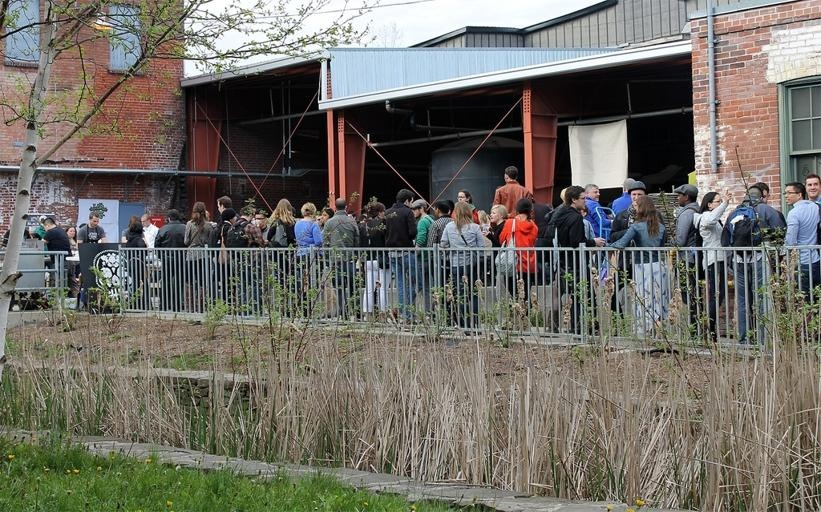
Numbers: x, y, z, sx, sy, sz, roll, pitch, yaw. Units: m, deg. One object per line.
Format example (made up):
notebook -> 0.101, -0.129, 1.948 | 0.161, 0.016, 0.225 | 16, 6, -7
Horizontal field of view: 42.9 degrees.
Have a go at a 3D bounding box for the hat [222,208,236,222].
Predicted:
hat -> -3.205, -0.747, 18.364 | 0.178, 0.235, 0.224 | -14, 35, -40

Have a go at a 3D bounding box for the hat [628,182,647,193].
hat -> 3.580, -1.061, 16.430 | 0.283, 0.158, 0.406 | -1, -12, 10

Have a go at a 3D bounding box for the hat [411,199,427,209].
hat -> 0.145, -0.846, 17.317 | 0.199, 0.112, 0.154 | 6, 2, 11

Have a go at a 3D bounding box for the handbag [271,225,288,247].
handbag -> -2.222, -0.332, 17.818 | 0.298, 0.329, 0.176 | -3, -8, 31

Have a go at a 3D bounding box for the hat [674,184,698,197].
hat -> 4.076, -0.985, 15.397 | 0.264, 0.149, 0.200 | 10, 5, 38

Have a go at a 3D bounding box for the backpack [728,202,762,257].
backpack -> 4.574, -0.325, 14.193 | 0.388, 0.809, 0.539 | 6, -11, -18
